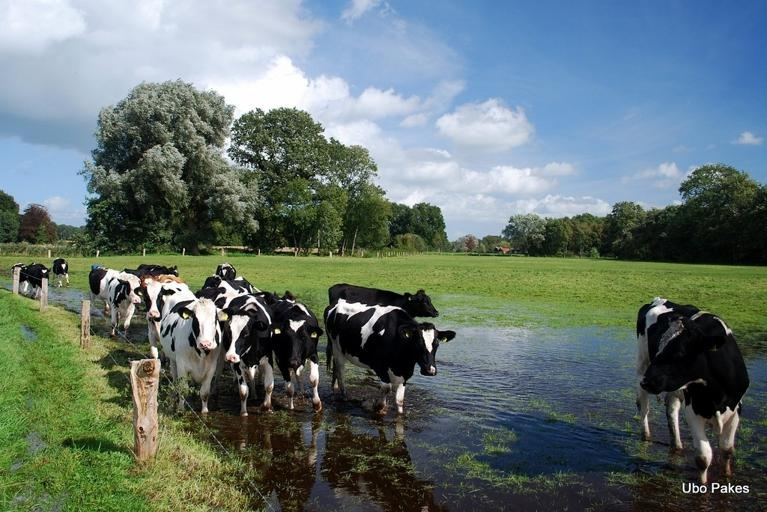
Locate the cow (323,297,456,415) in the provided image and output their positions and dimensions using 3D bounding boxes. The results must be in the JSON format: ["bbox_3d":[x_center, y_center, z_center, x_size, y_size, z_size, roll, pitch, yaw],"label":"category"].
[{"bbox_3d":[-0.208,2.739,14.115,1.410,2.817,4.875,4,0,-36],"label":"cow"}]
